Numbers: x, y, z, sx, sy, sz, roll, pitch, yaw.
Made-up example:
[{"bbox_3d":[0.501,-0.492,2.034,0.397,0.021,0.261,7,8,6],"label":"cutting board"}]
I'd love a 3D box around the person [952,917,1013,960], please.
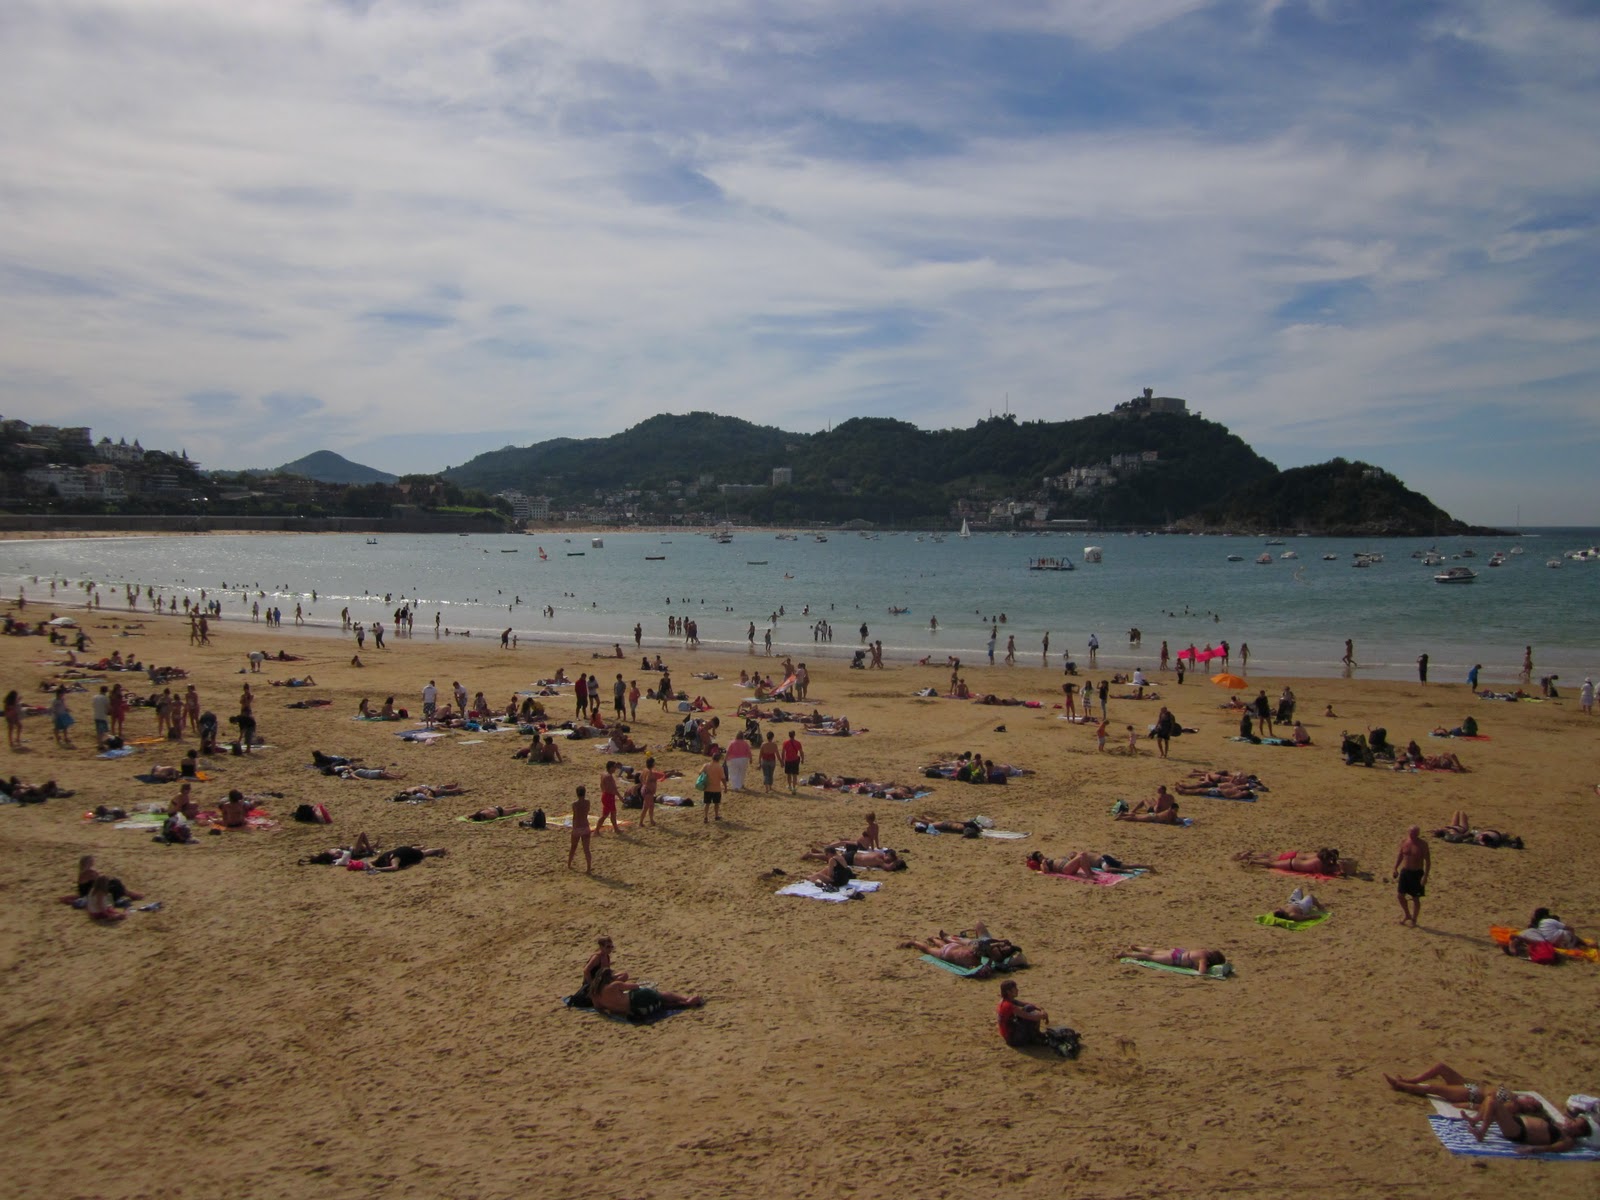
[{"bbox_3d":[2.653,4.985,18.639,1.040,0.459,0.596,0,9,-13],"label":"person"}]

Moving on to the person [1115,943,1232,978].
[{"bbox_3d":[5.470,5.201,18.574,0.878,0.163,0.638,-1,0,27],"label":"person"}]

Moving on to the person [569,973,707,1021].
[{"bbox_3d":[-2.241,5.393,17.479,1.818,0.409,0.664,1,8,-3],"label":"person"}]

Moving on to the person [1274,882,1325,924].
[{"bbox_3d":[7.737,4.741,20.158,0.877,0.282,0.609,-6,9,-42],"label":"person"}]

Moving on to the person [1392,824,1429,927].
[{"bbox_3d":[9.591,4.176,20.271,0.440,1.571,1.296,8,11,25],"label":"person"}]

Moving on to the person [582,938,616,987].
[{"bbox_3d":[-2.764,5.041,17.848,0.544,0.603,0.203,14,11,-12],"label":"person"}]
